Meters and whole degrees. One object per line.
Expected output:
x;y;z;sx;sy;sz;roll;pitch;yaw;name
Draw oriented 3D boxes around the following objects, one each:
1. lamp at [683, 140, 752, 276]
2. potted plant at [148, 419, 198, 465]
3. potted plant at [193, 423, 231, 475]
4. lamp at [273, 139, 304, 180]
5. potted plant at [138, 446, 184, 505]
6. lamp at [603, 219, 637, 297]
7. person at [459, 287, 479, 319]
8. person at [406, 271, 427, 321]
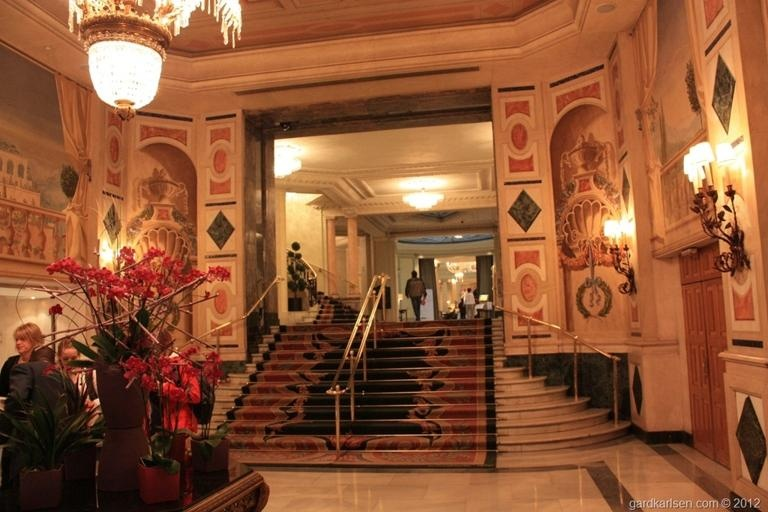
3.755;-0.547;6.243;0.467;1.554;0.812;-4;-4;20;lamp
-1.700;1.483;4.311;0.452;0.312;0.441;0;-3;-16;potted plant
-1.387;1.609;4.592;0.305;0.302;0.356;-1;-6;23;potted plant
-2.352;-2.406;13.888;0.587;0.797;1.769;-3;-3;12;lamp
-1.632;1.601;4.101;0.311;0.441;0.331;0;-2;5;potted plant
3.936;0.006;9.143;0.320;1.335;0.718;-3;-3;8;lamp
3.673;2.072;23.492;0.753;1.227;2.023;-3;-3;3;person
1.127;1.421;19.510;0.591;1.770;1.495;-2;-3;2;person
